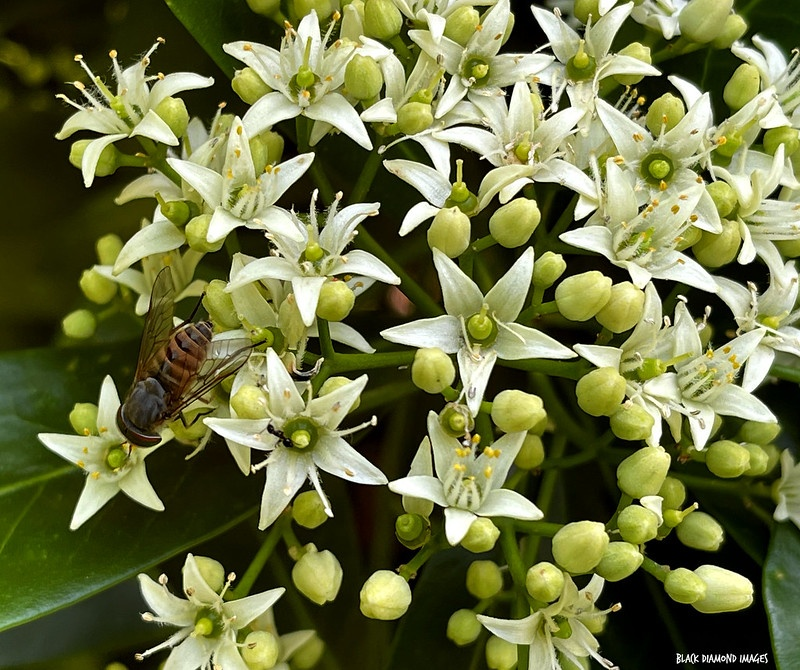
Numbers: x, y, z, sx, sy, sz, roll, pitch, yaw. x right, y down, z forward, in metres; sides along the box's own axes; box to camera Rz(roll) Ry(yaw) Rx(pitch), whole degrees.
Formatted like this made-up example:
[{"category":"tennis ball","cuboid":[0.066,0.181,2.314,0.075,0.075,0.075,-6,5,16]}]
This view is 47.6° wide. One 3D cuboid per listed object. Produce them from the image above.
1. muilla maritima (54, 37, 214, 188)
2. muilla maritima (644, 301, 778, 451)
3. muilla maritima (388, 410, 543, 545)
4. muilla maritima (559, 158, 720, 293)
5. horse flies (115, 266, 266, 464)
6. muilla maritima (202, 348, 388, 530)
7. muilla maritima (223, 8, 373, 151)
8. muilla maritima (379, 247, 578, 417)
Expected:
[{"category":"muilla maritima","cuboid":[-0.476,-0.362,1.684,0.276,0.120,0.302,29,84,33]},{"category":"muilla maritima","cuboid":[0.485,0.065,1.567,0.229,0.090,0.235,27,83,-14]},{"category":"muilla maritima","cuboid":[0.093,0.229,1.433,0.229,0.137,0.197,-7,56,-6]},{"category":"muilla maritima","cuboid":[0.391,-0.191,1.512,0.261,0.123,0.216,-3,56,-3]},{"category":"horse flies","cuboid":[-0.392,0.048,1.628,0.318,0.096,0.235,-44,88,-10]},{"category":"muilla maritima","cuboid":[-0.160,0.154,1.459,0.261,0.119,0.319,-32,98,-1]},{"category":"muilla maritima","cuboid":[-0.175,-0.413,1.542,0.220,0.109,0.251,-11,57,-8]},{"category":"muilla maritima","cuboid":[0.104,-0.001,1.456,0.280,0.182,0.239,-18,57,-13]}]
